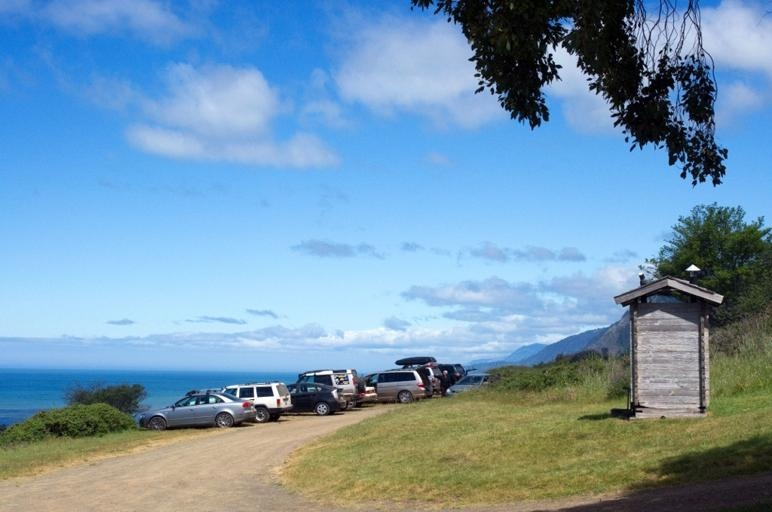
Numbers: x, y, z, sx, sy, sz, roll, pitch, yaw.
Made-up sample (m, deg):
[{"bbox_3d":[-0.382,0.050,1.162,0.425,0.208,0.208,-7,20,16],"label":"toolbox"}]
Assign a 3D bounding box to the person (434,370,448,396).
[{"bbox_3d":[3.915,9.086,41.822,1.003,0.670,1.412,-7,-39,-1],"label":"person"}]
